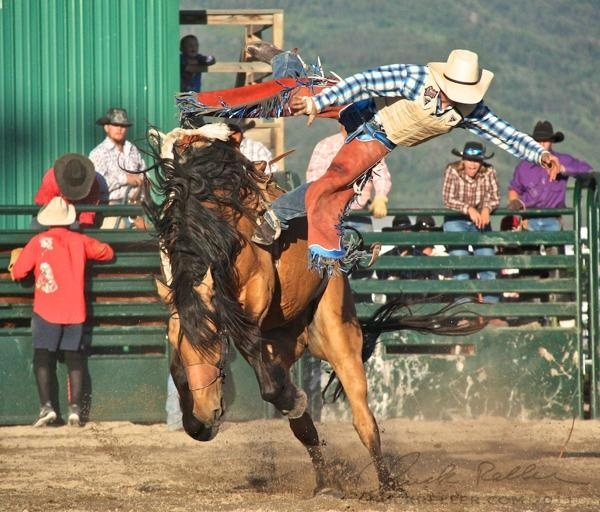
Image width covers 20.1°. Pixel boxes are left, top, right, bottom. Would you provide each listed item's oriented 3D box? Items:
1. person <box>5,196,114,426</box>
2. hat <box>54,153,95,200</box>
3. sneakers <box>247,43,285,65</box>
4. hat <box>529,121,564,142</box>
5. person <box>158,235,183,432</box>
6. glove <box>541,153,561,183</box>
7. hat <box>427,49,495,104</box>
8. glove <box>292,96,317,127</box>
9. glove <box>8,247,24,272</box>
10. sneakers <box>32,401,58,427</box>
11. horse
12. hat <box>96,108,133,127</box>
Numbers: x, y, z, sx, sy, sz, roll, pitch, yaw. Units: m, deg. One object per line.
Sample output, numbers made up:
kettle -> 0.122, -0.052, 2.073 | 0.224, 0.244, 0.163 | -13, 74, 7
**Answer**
person -> -2.810, 0.638, 19.789 | 1.081, 2.667, 0.437 | -2, 6, -10
hat -> -2.653, -1.014, 19.968 | 0.495, 0.617, 0.172 | -11, -23, -11
sneakers -> -0.391, -2.404, 19.964 | 0.215, 0.290, 0.646 | -13, 16, -15
hat -> 3.098, -1.551, 21.313 | 0.404, 0.210, 0.515 | 6, 3, 12
person -> -1.442, 0.948, 19.584 | 0.254, 2.367, 0.317 | -3, 4, 15
glove -> 2.602, -0.951, 17.537 | 0.170, 0.309, 0.085 | -12, 20, 22
hat -> 1.680, -1.954, 17.560 | 0.760, 0.369, 0.640 | -1, 4, -11
glove -> 0.041, -1.483, 17.208 | 0.261, 0.285, 0.196 | -1, 6, 0
glove -> -3.316, 0.021, 19.872 | 0.086, 0.242, 0.194 | 28, -25, -29
sneakers -> -2.942, 1.850, 19.740 | 0.143, 0.189, 0.392 | 7, -37, -31
horse -> -0.138, 0.712, 19.251 | 1.364, 3.535, 6.249 | -7, -10, 22
hat -> -2.278, -1.707, 20.766 | 0.428, 0.224, 0.594 | -1, 6, -7
